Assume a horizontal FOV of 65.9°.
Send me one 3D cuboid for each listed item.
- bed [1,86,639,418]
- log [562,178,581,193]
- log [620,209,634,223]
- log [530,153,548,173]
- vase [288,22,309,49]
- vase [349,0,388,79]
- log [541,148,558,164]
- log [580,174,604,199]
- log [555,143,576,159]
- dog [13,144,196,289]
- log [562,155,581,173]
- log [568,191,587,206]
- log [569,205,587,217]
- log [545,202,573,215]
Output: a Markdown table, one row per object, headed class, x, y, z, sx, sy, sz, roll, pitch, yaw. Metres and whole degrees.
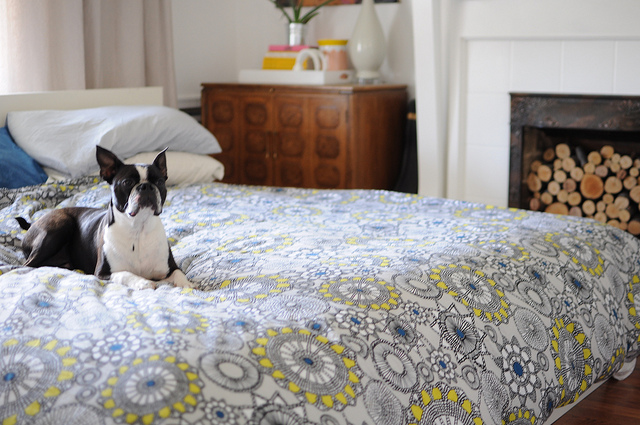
| class | x | y | z | sx | sy | sz | roll | pitch | yaw |
| --- | --- | --- | --- | --- | --- | --- | --- | --- | --- |
| bed | 0.087 | 0.067 | 1.821 | 1.462 | 0.613 | 1.490 | 2 | 9 | 23 |
| log | 1.623 | -0.177 | 3.164 | 0.090 | 0.090 | 0.021 | 28 | 12 | 13 |
| log | 1.904 | 0.018 | 3.060 | 0.075 | 0.055 | 0.077 | 17 | 62 | 27 |
| log | 1.458 | -0.328 | 3.278 | 0.033 | 0.100 | 0.102 | 23 | 61 | 30 |
| vase | -0.152 | -1.346 | 3.780 | 0.175 | 0.199 | 0.181 | 3 | 10 | 11 |
| vase | 0.352 | -1.277 | 3.627 | 0.266 | 0.557 | 0.110 | 0 | 14 | 4 |
| log | 1.519 | -0.377 | 3.255 | 0.088 | 0.090 | 0.021 | 18 | 3 | 42 |
| log | 1.753 | -0.160 | 3.145 | 0.147 | 0.202 | 0.049 | -8 | 25 | 40 |
| log | 1.606 | -0.399 | 3.228 | 0.107 | 0.105 | 0.025 | 7 | 5 | 29 |
| dog | -0.734 | 0.031 | 1.655 | 0.769 | 0.445 | 0.378 | 0 | 1 | 33 |
| log | 1.611 | -0.318 | 3.186 | 0.096 | 0.094 | 0.092 | -23 | 28 | 54 |
| log | 1.667 | -0.089 | 3.191 | 0.087 | 0.091 | 0.064 | -16 | -22 | 17 |
| log | 1.683 | -0.010 | 3.211 | 0.070 | 0.081 | 0.075 | -31 | -16 | 21 |
| log | 1.585 | -0.028 | 3.251 | 0.092 | 0.090 | 0.022 | 13 | 12 | 23 |
